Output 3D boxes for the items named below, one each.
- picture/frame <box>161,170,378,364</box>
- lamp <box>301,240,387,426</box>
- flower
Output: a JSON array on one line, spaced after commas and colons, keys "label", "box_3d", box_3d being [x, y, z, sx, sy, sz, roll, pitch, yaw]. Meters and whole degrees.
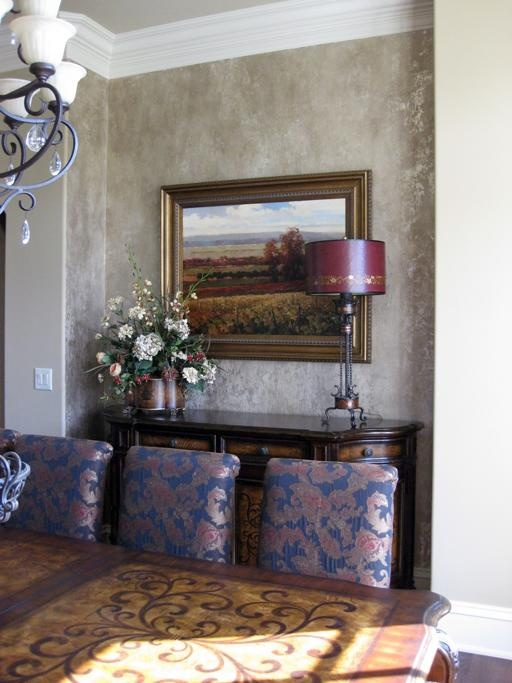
[{"label": "picture/frame", "box_3d": [0.109, -0.375, 3.363, 1.122, 0.902, 0.063, 0, 0, 25]}, {"label": "lamp", "box_3d": [0.417, -0.034, 3.030, 0.345, 0.849, 0.470, 0, 3, 8]}, {"label": "flower", "box_3d": [-0.573, 0.000, 3.407, 0.590, 0.670, 0.473, 2, 11, -31]}]
